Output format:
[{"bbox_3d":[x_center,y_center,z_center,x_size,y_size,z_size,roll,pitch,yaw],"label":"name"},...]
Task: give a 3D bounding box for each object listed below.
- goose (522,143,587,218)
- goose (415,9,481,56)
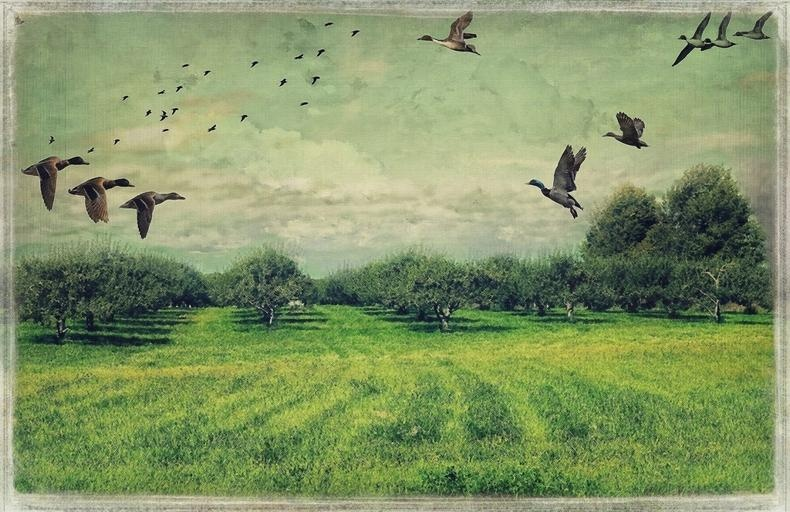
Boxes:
[{"bbox_3d":[5.343,-1.916,46.007,1.864,1.393,3.409,-1,-26,0],"label":"goose"},{"bbox_3d":[1.673,-6.845,45.427,2.014,0.935,2.907,3,-17,3],"label":"goose"}]
